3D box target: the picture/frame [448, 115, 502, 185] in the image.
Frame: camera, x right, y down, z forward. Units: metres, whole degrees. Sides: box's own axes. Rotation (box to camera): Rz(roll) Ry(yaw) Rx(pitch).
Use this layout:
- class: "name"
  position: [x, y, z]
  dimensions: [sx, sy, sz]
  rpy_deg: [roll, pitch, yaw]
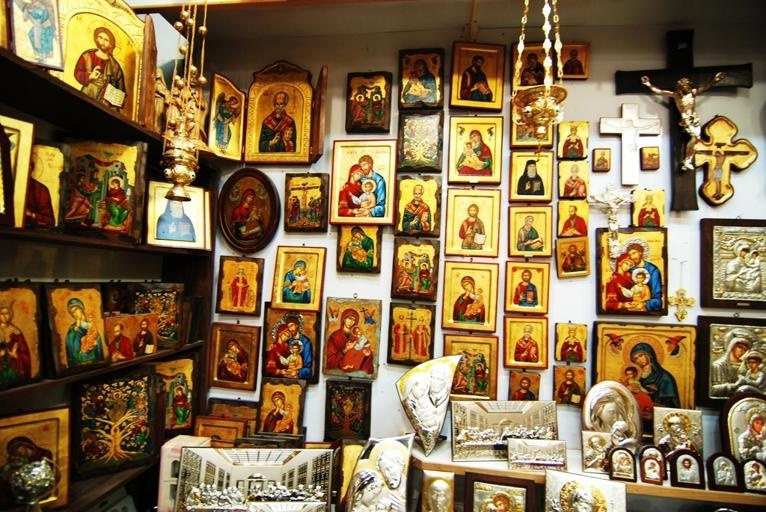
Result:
- class: "picture/frame"
  position: [0.678, -0.770, 4.973]
  dimensions: [0.500, 0.623, 0.052]
  rpy_deg: [1, -2, 5]

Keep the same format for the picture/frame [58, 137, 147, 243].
- class: "picture/frame"
  position: [-1.775, -0.419, 4.249]
  dimensions: [0.647, 0.822, 0.110]
  rpy_deg: [3, -3, -11]

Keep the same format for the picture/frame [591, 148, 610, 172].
- class: "picture/frame"
  position: [1.555, -0.696, 4.884]
  dimensions: [0.173, 0.230, 0.039]
  rpy_deg: [1, -3, 5]

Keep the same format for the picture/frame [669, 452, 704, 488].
- class: "picture/frame"
  position: [1.935, 1.370, 4.364]
  dimensions: [0.224, 0.287, 0.032]
  rpy_deg: [0, -9, 3]

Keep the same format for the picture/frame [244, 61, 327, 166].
- class: "picture/frame"
  position: [-0.723, -1.052, 5.117]
  dimensions: [0.769, 0.821, 0.430]
  rpy_deg: [1, -5, 2]

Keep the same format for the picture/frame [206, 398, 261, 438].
- class: "picture/frame"
  position: [-1.093, 1.178, 4.960]
  dimensions: [0.266, 0.243, 0.085]
  rpy_deg: [2, -3, 4]

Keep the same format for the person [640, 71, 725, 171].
- class: "person"
  position: [2.131, -0.952, 4.818]
  dimensions: [0.698, 0.780, 0.185]
  rpy_deg: [-1, -7, 8]

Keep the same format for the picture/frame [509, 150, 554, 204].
- class: "picture/frame"
  position: [1.075, -0.572, 4.922]
  dimensions: [0.381, 0.426, 0.058]
  rpy_deg: [2, -1, 8]

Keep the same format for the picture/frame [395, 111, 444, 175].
- class: "picture/frame"
  position: [0.269, -0.834, 5.006]
  dimensions: [0.478, 0.609, 0.067]
  rpy_deg: [1, -2, 8]

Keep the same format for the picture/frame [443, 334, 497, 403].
- class: "picture/frame"
  position: [0.618, 0.804, 4.831]
  dimensions: [0.457, 0.504, 0.052]
  rpy_deg: [1, -6, 4]

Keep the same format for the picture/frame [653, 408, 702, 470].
- class: "picture/frame"
  position: [1.926, 1.204, 4.464]
  dimensions: [0.357, 0.461, 0.048]
  rpy_deg: [3, -11, 9]

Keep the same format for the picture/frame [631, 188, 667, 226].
- class: "picture/frame"
  position: [1.878, -0.350, 4.829]
  dimensions: [0.266, 0.344, 0.058]
  rpy_deg: [1, -7, 7]

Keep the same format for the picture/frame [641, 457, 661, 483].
- class: "picture/frame"
  position: [1.717, 1.376, 4.384]
  dimensions: [0.156, 0.209, 0.022]
  rpy_deg: [0, -14, 5]

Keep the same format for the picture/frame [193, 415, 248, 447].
- class: "picture/frame"
  position: [-1.161, 1.223, 4.851]
  dimensions: [0.309, 0.201, 0.081]
  rpy_deg: [5, -9, -1]

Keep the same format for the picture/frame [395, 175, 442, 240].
- class: "picture/frame"
  position: [0.258, -0.363, 4.979]
  dimensions: [0.455, 0.580, 0.079]
  rpy_deg: [2, -2, 10]

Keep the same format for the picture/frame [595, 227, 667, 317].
- class: "picture/frame"
  position: [1.767, 0.114, 4.819]
  dimensions: [0.639, 0.812, 0.084]
  rpy_deg: [1, -2, 6]

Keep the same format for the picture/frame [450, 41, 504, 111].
- class: "picture/frame"
  position: [0.684, -1.318, 4.986]
  dimensions: [0.486, 0.556, 0.057]
  rpy_deg: [3, -6, 3]

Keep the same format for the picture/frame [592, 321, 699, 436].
- class: "picture/frame"
  position: [1.831, 0.857, 4.703]
  dimensions: [0.788, 0.882, 0.066]
  rpy_deg: [1, -2, 3]

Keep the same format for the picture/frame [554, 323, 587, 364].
- class: "picture/frame"
  position: [1.333, 0.616, 4.843]
  dimensions: [0.282, 0.360, 0.040]
  rpy_deg: [2, -6, 6]

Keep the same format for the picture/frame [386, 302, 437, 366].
- class: "picture/frame"
  position: [0.211, 0.569, 4.952]
  dimensions: [0.459, 0.590, 0.045]
  rpy_deg: [2, -2, 9]

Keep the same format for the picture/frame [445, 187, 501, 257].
- class: "picture/frame"
  position: [0.658, -0.241, 4.952]
  dimensions: [0.477, 0.606, 0.049]
  rpy_deg: [3, -2, 7]

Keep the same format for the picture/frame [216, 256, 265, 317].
- class: "picture/frame"
  position: [-1.073, 0.219, 5.113]
  dimensions: [0.429, 0.543, 0.058]
  rpy_deg: [3, -3, 8]

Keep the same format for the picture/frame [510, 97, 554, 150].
- class: "picture/frame"
  position: [1.000, -0.901, 4.562]
  dimensions: [0.379, 0.403, 0.031]
  rpy_deg: [5, 7, 24]

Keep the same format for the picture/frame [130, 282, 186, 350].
- class: "picture/frame"
  position: [-1.548, 0.397, 4.621]
  dimensions: [0.472, 0.626, 0.089]
  rpy_deg: [1, 0, -38]

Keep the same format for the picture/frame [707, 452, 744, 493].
- class: "picture/frame"
  position: [2.176, 1.376, 4.357]
  dimensions: [0.211, 0.181, 0.041]
  rpy_deg: [3, -1, -2]

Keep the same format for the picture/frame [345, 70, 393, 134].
- class: "picture/frame"
  position: [-0.101, -1.146, 5.063]
  dimensions: [0.461, 0.594, 0.065]
  rpy_deg: [2, 0, 12]

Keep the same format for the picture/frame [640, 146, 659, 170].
- class: "picture/frame"
  position: [1.888, -0.706, 4.845]
  dimensions: [0.161, 0.209, 0.040]
  rpy_deg: [2, -9, 7]

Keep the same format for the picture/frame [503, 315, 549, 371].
- class: "picture/frame"
  position: [1.024, 0.619, 4.870]
  dimensions: [0.398, 0.456, 0.046]
  rpy_deg: [1, -7, 8]

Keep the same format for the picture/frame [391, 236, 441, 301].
- class: "picture/frame"
  position: [0.244, 0.086, 4.975]
  dimensions: [0.452, 0.576, 0.062]
  rpy_deg: [3, -6, 8]

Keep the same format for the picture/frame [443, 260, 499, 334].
- class: "picture/frame"
  position: [0.639, 0.298, 4.926]
  dimensions: [0.524, 0.659, 0.074]
  rpy_deg: [2, -4, 8]

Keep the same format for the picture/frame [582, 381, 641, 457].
- class: "picture/frame"
  position: [1.510, 1.097, 4.537]
  dimensions: [0.442, 0.614, 0.176]
  rpy_deg: [-1, -17, 7]

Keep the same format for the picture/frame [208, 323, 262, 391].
- class: "picture/frame"
  position: [-1.111, 0.758, 5.091]
  dimensions: [0.501, 0.645, 0.051]
  rpy_deg: [2, -6, 6]

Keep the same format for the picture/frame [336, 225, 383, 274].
- class: "picture/frame"
  position: [-0.165, -0.060, 5.033]
  dimensions: [0.357, 0.393, 0.056]
  rpy_deg: [2, -1, 9]

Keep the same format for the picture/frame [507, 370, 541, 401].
- class: "picture/frame"
  position: [1.008, 0.917, 4.864]
  dimensions: [0.215, 0.201, 0.040]
  rpy_deg: [0, -7, 8]

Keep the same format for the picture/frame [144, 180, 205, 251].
- class: "picture/frame"
  position: [-1.430, -0.272, 4.598]
  dimensions: [0.063, 0.439, 0.462]
  rpy_deg: [-11, -12, 42]

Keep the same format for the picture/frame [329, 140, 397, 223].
- class: "picture/frame"
  position: [-0.137, -0.547, 5.037]
  dimensions: [0.614, 0.767, 0.040]
  rpy_deg: [1, -3, 9]

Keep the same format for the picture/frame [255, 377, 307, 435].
- class: "picture/frame"
  position: [-0.744, 1.097, 4.993]
  dimensions: [0.418, 0.557, 0.056]
  rpy_deg: [1, -9, 6]

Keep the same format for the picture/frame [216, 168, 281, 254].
- class: "picture/frame"
  position: [-1.004, -0.346, 5.143]
  dimensions: [0.642, 0.889, 0.090]
  rpy_deg: [1, -6, 1]

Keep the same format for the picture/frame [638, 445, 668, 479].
- class: "picture/frame"
  position: [1.733, 1.329, 4.401]
  dimensions: [0.207, 0.294, 0.020]
  rpy_deg: [-1, -12, 7]

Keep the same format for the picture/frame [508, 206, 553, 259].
- class: "picture/frame"
  position: [1.063, -0.178, 4.901]
  dimensions: [0.378, 0.444, 0.045]
  rpy_deg: [1, -3, 6]
